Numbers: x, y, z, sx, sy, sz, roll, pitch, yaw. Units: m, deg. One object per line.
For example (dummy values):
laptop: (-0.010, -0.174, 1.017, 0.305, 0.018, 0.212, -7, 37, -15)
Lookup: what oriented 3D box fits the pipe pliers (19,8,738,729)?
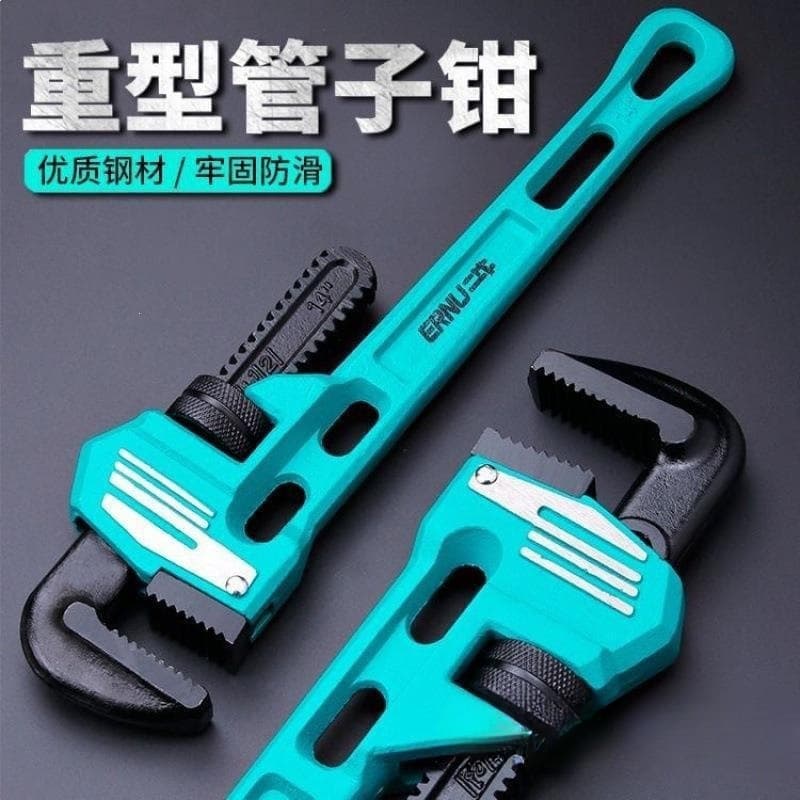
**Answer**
pipe pliers: (0.079, -0.174, 1.598, 0.455, 0.223, 1.558, 36, 77, 19)
